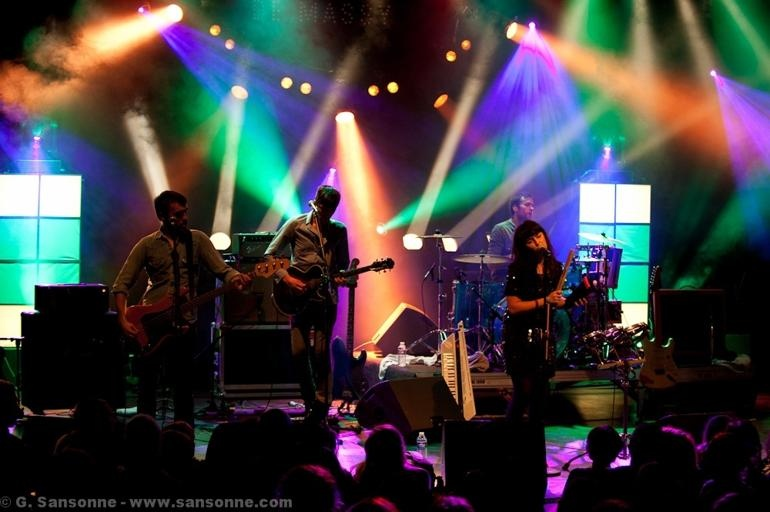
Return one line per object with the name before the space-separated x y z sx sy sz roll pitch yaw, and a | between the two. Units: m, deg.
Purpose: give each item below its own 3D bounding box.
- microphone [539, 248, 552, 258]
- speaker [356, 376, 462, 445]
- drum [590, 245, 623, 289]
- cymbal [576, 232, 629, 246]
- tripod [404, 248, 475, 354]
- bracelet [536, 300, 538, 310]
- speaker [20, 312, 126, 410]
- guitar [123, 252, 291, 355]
microphone | 1.653 -0.034 7.240 0.124 0.110 0.115 -8 -11 38
speaker | 0.276 1.743 8.297 0.961 0.574 0.991 -6 -6 41
drum | 3.124 0.137 9.901 0.437 0.672 0.801 -3 -9 16
cymbal | 3.231 -0.235 10.271 0.539 0.120 0.517 2 6 -19
tripod | 1.130 0.585 10.504 1.463 1.563 1.279 -1 -4 7
bracelet | 1.557 0.489 7.165 0.026 0.076 0.033 -3 -9 13
speaker | -3.862 1.338 9.290 1.456 1.276 1.079 -1 -4 0
guitar | -1.988 0.556 8.095 1.477 0.464 0.193 -26 -3 -12
